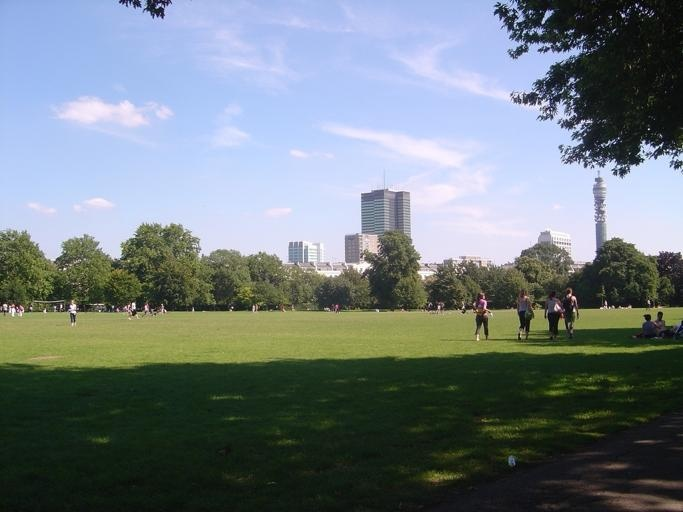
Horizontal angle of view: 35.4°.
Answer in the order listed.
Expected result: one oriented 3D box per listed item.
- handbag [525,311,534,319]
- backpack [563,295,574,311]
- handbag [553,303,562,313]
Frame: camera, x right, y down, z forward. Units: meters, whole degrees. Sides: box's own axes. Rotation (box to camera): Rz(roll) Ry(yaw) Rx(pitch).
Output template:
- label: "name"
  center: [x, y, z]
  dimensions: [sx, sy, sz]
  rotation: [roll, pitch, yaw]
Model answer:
- label: "handbag"
  center: [7.003, 2.208, 39.906]
  dimensions: [0.308, 0.297, 0.315]
  rotation: [-1, 4, -3]
- label: "backpack"
  center: [8.483, 1.759, 40.026]
  dimensions: [0.418, 0.665, 0.569]
  rotation: [1, 14, 10]
- label: "handbag"
  center: [8.049, 1.955, 40.142]
  dimensions: [0.304, 0.381, 0.155]
  rotation: [0, -10, -24]
